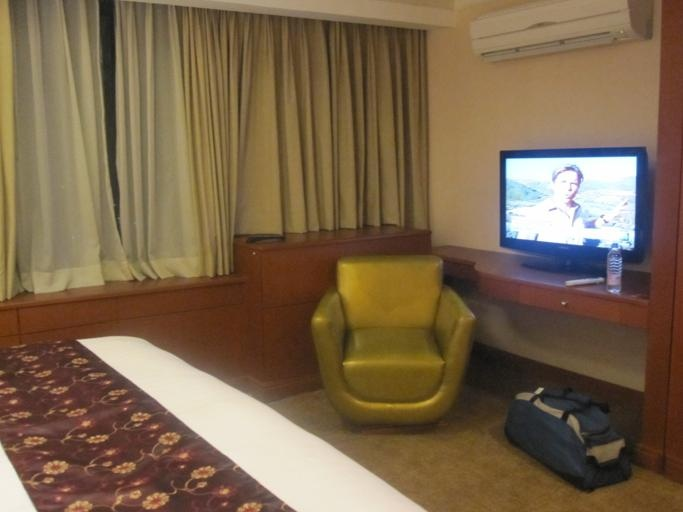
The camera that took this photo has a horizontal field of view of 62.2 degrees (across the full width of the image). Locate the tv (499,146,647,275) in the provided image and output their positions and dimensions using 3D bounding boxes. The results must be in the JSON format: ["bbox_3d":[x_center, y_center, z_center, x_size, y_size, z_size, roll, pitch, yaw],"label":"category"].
[{"bbox_3d":[1.519,-0.292,3.715,0.269,0.818,1.102,-7,11,-32],"label":"tv"}]

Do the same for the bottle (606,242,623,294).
[{"bbox_3d":[1.548,0.079,3.191,0.078,0.203,0.308,4,12,27],"label":"bottle"}]

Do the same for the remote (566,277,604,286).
[{"bbox_3d":[1.438,0.146,3.346,0.264,0.030,0.151,-1,10,0],"label":"remote"}]

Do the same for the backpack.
[{"bbox_3d":[1.239,0.970,3.139,0.384,0.340,0.591,-2,4,-22],"label":"backpack"}]

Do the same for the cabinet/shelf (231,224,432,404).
[{"bbox_3d":[-0.096,0.428,3.724,1.181,0.981,0.408,-3,6,-25],"label":"cabinet/shelf"}]

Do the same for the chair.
[{"bbox_3d":[0.318,0.527,3.618,0.981,0.951,0.806,0,13,2],"label":"chair"}]
